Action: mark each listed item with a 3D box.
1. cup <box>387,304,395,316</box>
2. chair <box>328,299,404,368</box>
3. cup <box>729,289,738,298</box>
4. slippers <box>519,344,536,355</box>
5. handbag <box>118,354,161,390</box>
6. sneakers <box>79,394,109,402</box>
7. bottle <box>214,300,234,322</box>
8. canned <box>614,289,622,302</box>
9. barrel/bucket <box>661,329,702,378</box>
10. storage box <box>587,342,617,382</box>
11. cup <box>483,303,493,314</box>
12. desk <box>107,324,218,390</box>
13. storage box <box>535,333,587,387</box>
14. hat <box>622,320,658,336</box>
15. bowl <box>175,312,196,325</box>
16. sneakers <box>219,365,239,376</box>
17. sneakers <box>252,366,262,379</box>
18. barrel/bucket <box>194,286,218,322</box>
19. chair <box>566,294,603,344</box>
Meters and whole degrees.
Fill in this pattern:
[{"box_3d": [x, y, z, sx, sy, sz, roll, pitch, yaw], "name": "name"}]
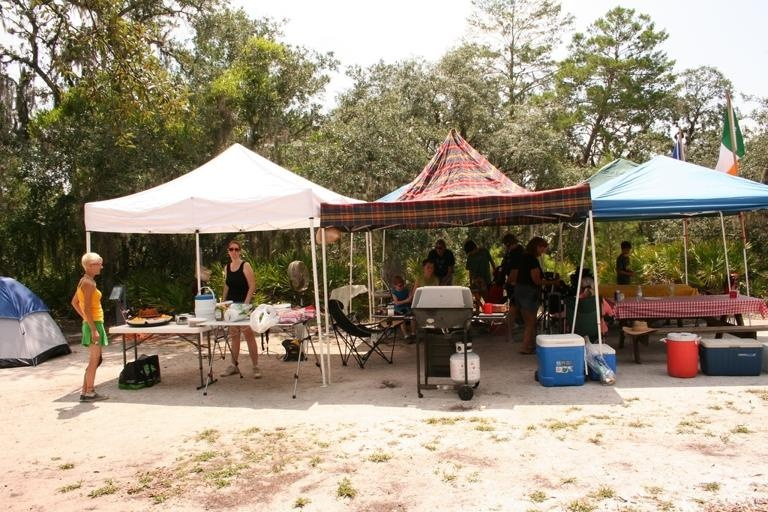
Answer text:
[{"box_3d": [0.127, 1.029, 12.204, 0.143, 0.189, 0.142, 0, -6, 0], "name": "cup"}, {"box_3d": [-0.355, 1.433, 12.143, 1.367, 1.166, 1.216, 0, 0, -7], "name": "chair"}, {"box_3d": [6.253, 0.668, 11.432, 0.137, 0.132, 0.140, 1, -2, 0], "name": "cup"}, {"box_3d": [2.727, 1.755, 12.129, 0.272, 0.256, 0.160, -1, 2, 16], "name": "slippers"}, {"box_3d": [-4.152, 1.968, 10.882, 0.714, 0.479, 0.428, -10, 14, -34], "name": "handbag"}, {"box_3d": [-4.644, 2.240, 10.235, 0.404, 0.153, 0.155, 1, -2, -19], "name": "sneakers"}, {"box_3d": [-2.633, 0.891, 10.500, 0.313, 0.358, 0.295, 4, -11, -26], "name": "bottle"}, {"box_3d": [4.164, 0.711, 11.428, 0.187, 0.198, 0.122, -1, 1, 20], "name": "canned"}, {"box_3d": [4.952, 1.591, 10.597, 0.857, 0.849, 0.608, -3, -7, 38], "name": "barrel/bucket"}, {"box_3d": [3.549, 1.669, 10.468, 0.485, 0.598, 0.899, -1, -1, 7], "name": "storage box"}, {"box_3d": [1.853, 0.937, 11.484, 0.176, 0.168, 0.141, -3, -4, 42], "name": "cup"}, {"box_3d": [-3.739, 1.492, 11.157, 2.221, 1.369, 1.433, 0, -4, 1], "name": "desk"}, {"box_3d": [2.864, 1.676, 10.486, 0.792, 0.744, 0.787, 0, -3, 1], "name": "storage box"}, {"box_3d": [4.510, 1.257, 11.227, 0.397, 0.127, 0.374, -1, 1, -28], "name": "hat"}, {"box_3d": [-3.294, 1.031, 10.582, 0.259, 0.136, 0.281, 0, 0, 0], "name": "bowl"}, {"box_3d": [-2.776, 2.009, 11.300, 0.415, 0.169, 0.140, 2, -3, -25], "name": "sneakers"}, {"box_3d": [-2.222, 2.013, 11.168, 0.176, 0.247, 0.579, 0, -7, -11], "name": "sneakers"}, {"box_3d": [-2.907, 0.834, 10.406, 0.325, 0.386, 0.296, -2, 12, 0], "name": "barrel/bucket"}, {"box_3d": [3.497, 1.041, 11.110, 0.688, 1.071, 0.786, 3, 11, 22], "name": "chair"}]
